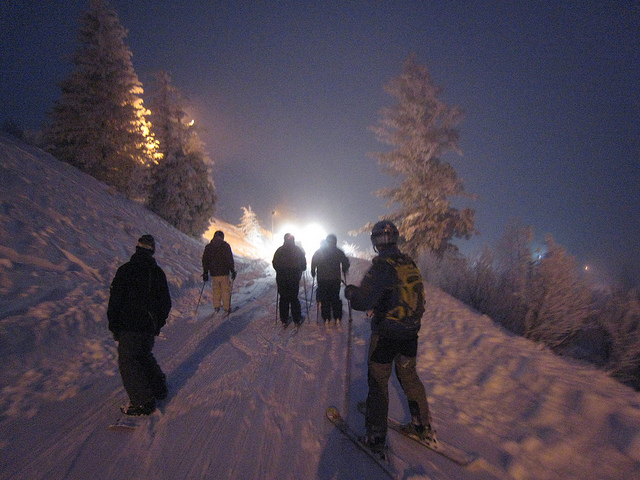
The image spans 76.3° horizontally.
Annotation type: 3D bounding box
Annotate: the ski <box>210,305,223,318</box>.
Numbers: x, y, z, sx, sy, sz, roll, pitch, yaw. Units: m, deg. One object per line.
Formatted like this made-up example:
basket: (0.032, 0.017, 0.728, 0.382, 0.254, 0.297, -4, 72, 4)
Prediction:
ski: (-3.212, 2.213, 12.628, 0.087, 0.329, 0.093, 23, -1, 44)

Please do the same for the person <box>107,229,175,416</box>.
person: (-3.968, 1.854, 9.013, 1.397, 3.917, 0.344, 10, -10, -32)

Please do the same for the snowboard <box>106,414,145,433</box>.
snowboard: (-4.114, 3.881, 8.693, 0.498, 0.148, 0.347, 1, 21, 4)

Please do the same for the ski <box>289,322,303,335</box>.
ski: (-0.713, 2.483, 11.399, 0.240, 0.289, 0.424, 4, -10, 5)

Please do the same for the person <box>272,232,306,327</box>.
person: (-0.858, 1.025, 11.792, 0.880, 2.829, 0.856, 4, 23, 1)

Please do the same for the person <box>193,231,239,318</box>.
person: (-3.006, 0.985, 12.631, 0.995, 2.732, 0.894, -14, 25, -40)

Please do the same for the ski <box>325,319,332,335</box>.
ski: (0.222, 2.410, 11.560, 0.179, 0.307, 0.106, 15, 8, 30)
